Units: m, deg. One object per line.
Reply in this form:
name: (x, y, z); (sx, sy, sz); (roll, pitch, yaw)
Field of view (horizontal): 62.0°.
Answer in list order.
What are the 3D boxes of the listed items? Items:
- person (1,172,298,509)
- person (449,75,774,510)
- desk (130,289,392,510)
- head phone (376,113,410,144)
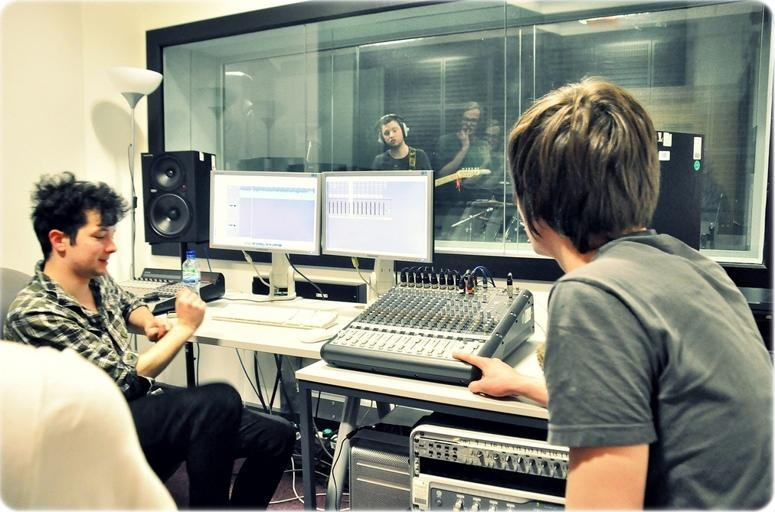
person: (-0.936, 0.367, 2.561); (0.914, 1.404, 0.562); (0, 7, 18)
person: (0.636, 0.079, 1.608); (0.592, 1.069, 0.338); (-3, 7, -8)
desk: (-0.507, 0.585, 2.648); (1.073, 0.460, 0.574); (10, 14, 33)
head phone: (0.030, -0.753, 3.815); (0.220, 0.166, 0.080); (0, 0, 6)
